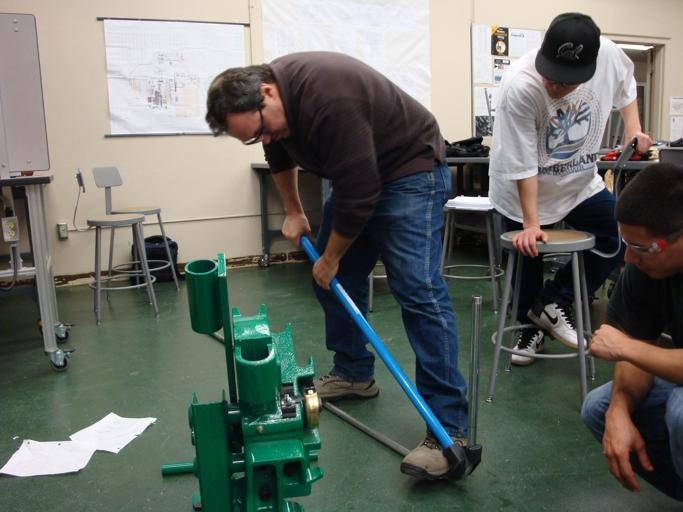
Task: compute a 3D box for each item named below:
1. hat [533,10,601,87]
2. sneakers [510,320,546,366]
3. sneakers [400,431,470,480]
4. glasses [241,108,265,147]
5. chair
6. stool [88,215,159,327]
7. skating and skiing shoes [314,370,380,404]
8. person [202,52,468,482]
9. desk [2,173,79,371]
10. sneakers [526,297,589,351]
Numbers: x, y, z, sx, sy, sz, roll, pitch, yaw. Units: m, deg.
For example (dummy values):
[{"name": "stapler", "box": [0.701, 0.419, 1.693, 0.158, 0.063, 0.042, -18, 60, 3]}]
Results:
[{"name": "hat", "box": [0.982, -0.917, 2.196, 0.249, 0.150, 0.373, 18, 55, 17]}, {"name": "sneakers", "box": [1.042, 0.480, 2.868, 0.100, 0.181, 0.300, 11, 21, 43]}, {"name": "sneakers", "box": [0.371, 0.760, 2.015, 0.125, 0.174, 0.354, 3, 0, 40]}, {"name": "glasses", "box": [-0.307, -0.462, 1.837, 0.027, 0.109, 0.098, 5, -1, -21]}, {"name": "chair", "box": [-1.704, -0.191, 4.061, 0.483, 1.022, 0.470, 5, 4, -11]}, {"name": "stool", "box": [-1.706, 0.078, 3.970, 0.562, 0.783, 0.614, 1, 11, 12]}, {"name": "skating and skiing shoes", "box": [0.010, 0.638, 2.544, 0.361, 0.182, 0.127, 5, -1, -9]}, {"name": "person", "box": [-0.026, 0.015, 2.108, 0.931, 1.598, 0.818, -5, 13, -12]}, {"name": "desk", "box": [-1.812, 0.075, 3.017, 0.307, 1.082, 0.685, -8, 14, -29]}, {"name": "sneakers", "box": [1.149, 0.325, 2.793, 0.122, 0.156, 0.357, -35, 56, -25]}]
